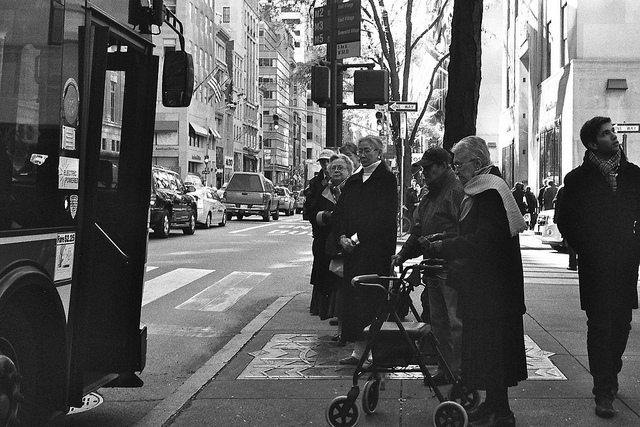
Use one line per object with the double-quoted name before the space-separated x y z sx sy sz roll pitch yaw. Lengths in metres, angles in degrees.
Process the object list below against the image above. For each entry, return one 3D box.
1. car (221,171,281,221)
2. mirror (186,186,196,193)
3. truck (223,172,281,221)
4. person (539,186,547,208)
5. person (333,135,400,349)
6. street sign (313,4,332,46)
"car" -3.430 -1.058 36.128 1.744 1.778 3.648 1 4 10
"mirror" -4.527 -0.866 23.640 0.259 0.262 0.063 8 0 2
"truck" -3.423 -1.021 36.127 1.688 1.641 3.637 1 4 10
"person" 7.994 -0.589 24.245 0.273 0.835 0.611 9 4 20
"person" 0.486 0.266 7.049 0.665 2.157 0.514 -1 3 -1
"street sign" 0.033 -3.582 12.729 0.260 0.756 0.579 -1 3 -16
